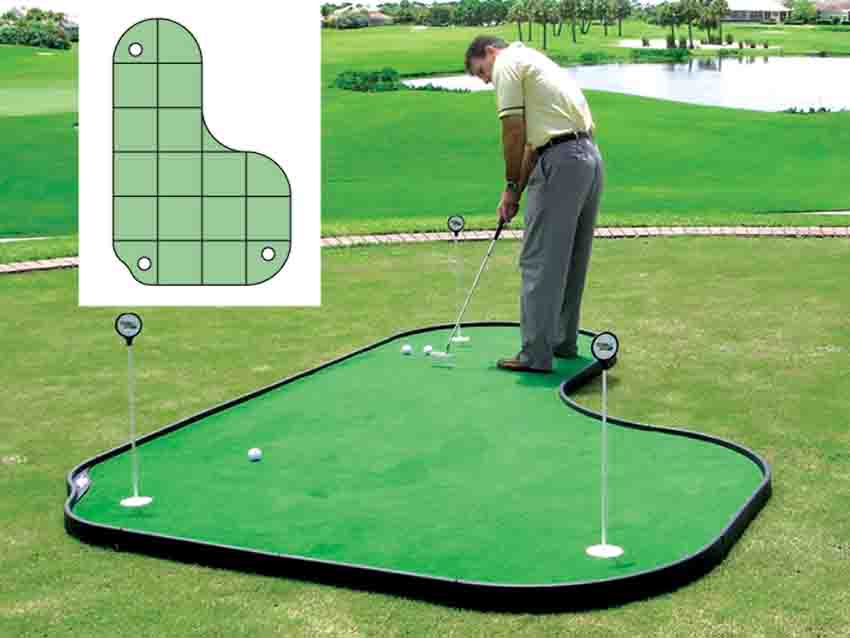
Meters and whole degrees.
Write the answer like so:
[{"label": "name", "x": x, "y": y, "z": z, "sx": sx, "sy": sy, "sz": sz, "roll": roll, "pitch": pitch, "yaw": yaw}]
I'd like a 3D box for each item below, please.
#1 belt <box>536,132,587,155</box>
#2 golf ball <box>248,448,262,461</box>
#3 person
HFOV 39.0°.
[{"label": "belt", "x": 0.872, "y": -1.130, "z": 7.699, "sx": 0.331, "sy": 0.127, "sz": 0.113, "roll": -1, "pitch": 11, "yaw": 4}, {"label": "golf ball", "x": -0.930, "y": 0.740, "z": 6.533, "sx": 0.063, "sy": 0.067, "sz": 0.022, "roll": 4, "pitch": -35, "yaw": -9}, {"label": "person", "x": 0.795, "y": -0.720, "z": 7.777, "sx": 0.696, "sy": 2.077, "sz": 0.476, "roll": -1, "pitch": 12, "yaw": 5}]
